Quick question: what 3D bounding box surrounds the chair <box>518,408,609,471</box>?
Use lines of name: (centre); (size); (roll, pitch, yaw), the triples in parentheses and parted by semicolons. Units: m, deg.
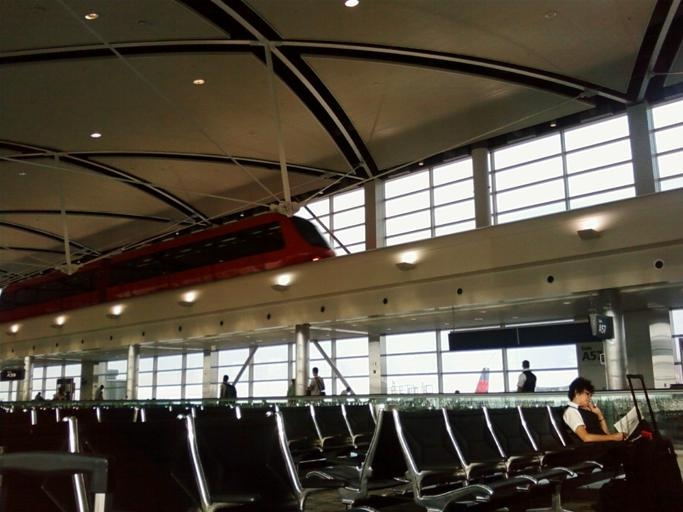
chair: (2.764, 2.421, 7.788); (0.734, 0.747, 0.951); (15, -26, -34)

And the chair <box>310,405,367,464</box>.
chair: (-0.091, 2.621, 8.731); (0.764, 0.915, 0.850); (15, -33, -40)

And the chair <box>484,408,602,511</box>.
chair: (2.558, 2.595, 7.566); (1.529, 0.900, 0.596); (20, -37, -39)

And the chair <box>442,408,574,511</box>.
chair: (1.996, 2.515, 7.188); (1.558, 1.033, 0.862); (20, -30, -39)
